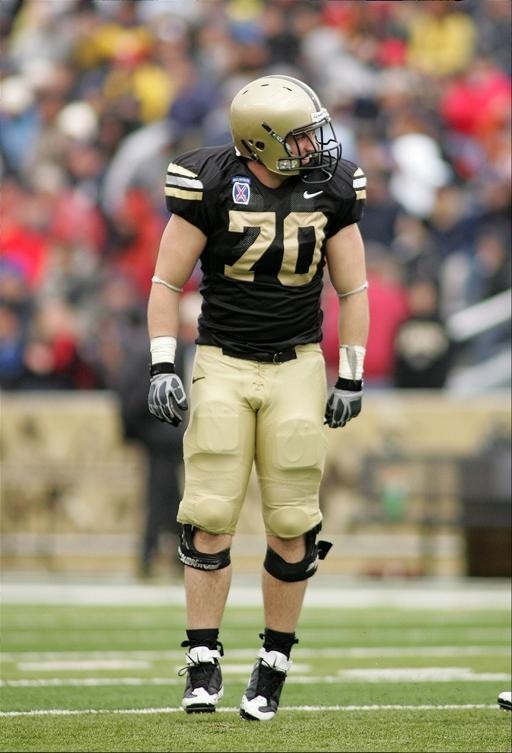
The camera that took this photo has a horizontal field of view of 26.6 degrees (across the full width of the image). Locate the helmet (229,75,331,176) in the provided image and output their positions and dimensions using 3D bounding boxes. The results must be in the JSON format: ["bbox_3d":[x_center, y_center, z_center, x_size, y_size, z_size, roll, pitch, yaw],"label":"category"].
[{"bbox_3d":[0.038,-0.570,2.534,0.286,0.192,0.198,16,34,12],"label":"helmet"}]

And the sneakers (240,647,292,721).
[{"bbox_3d":[0.021,0.710,2.490,0.078,0.087,0.187,22,57,-5],"label":"sneakers"}]

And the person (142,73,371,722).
[{"bbox_3d":[0.024,0.039,2.505,0.544,1.478,0.351,3,-7,-9],"label":"person"}]

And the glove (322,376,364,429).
[{"bbox_3d":[0.210,0.069,2.687,0.102,0.121,0.132,19,-5,-7],"label":"glove"}]
